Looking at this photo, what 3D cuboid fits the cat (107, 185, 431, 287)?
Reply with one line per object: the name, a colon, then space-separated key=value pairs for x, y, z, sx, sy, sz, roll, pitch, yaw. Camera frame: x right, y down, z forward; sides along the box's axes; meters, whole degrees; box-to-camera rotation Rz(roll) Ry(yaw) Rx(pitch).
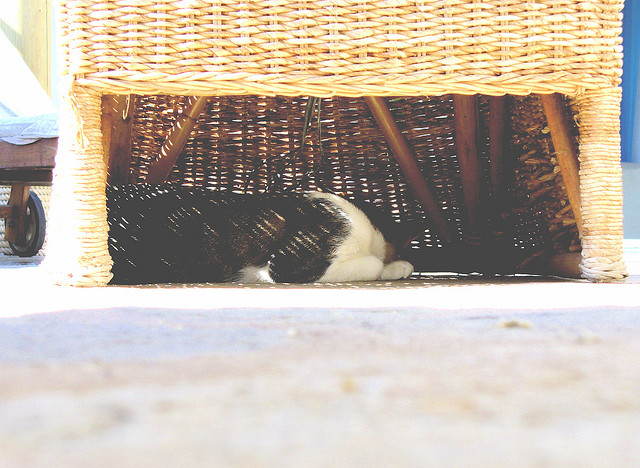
cat: x=-0.193 y=0.011 z=2.163 sx=0.315 sy=1.164 sz=0.231 roll=6 pitch=92 yaw=49
